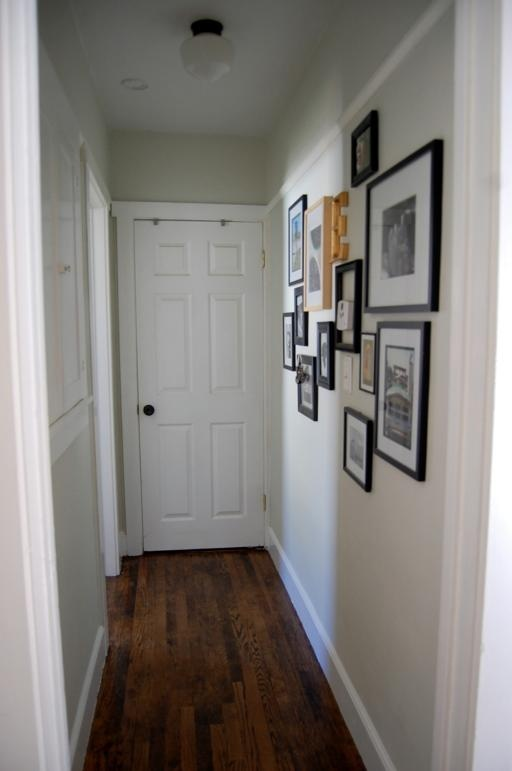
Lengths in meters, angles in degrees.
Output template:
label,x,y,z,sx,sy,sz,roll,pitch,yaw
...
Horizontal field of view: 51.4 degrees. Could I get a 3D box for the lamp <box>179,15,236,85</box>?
label,x,y,z,sx,sy,sz,roll,pitch,yaw
lamp,-0.171,-1.153,1.819,0.169,0.122,0.194,0,4,1
